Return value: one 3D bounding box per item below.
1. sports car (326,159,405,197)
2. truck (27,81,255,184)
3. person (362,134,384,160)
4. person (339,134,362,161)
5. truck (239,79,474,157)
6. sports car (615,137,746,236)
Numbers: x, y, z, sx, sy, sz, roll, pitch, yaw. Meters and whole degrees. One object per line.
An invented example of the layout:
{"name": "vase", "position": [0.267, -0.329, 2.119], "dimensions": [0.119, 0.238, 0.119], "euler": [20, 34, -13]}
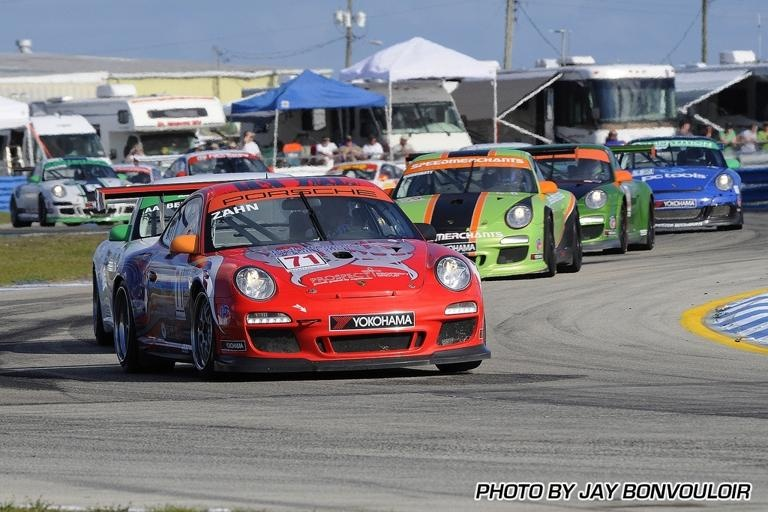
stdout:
{"name": "sports car", "position": [-0.481, -1.713, 26.869], "dimensions": [0.956, 0.531, 1.923], "euler": [0, -3, 33]}
{"name": "truck", "position": [-6.931, -3.938, 37.841], "dimensions": [2.892, 2.363, 5.348], "euler": [-4, 5, -40]}
{"name": "person", "position": [-0.238, -2.736, 32.495], "dimensions": [0.835, 0.377, 1.315], "euler": [-1, 13, -5]}
{"name": "person", "position": [-0.837, -2.668, 31.946], "dimensions": [0.584, 0.560, 0.930], "euler": [-4, 9, 0]}
{"name": "truck", "position": [-0.477, -3.374, 34.315], "dimensions": [4.812, 1.872, 2.602], "euler": [-3, 12, 4]}
{"name": "sports car", "position": [5.140, -1.158, 22.281], "dimensions": [2.138, 1.083, 3.439], "euler": [-1, 2, 12]}
